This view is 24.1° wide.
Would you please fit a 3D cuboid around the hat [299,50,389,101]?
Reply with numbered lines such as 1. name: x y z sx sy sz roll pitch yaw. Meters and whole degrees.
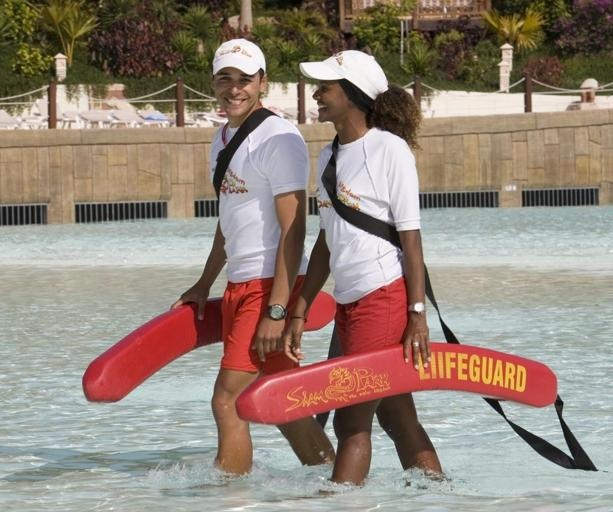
1. hat: 0.252 -1.175 9.499 0.495 0.247 0.319 17 7 -13

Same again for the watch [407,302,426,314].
1. watch: 0.714 0.335 9.327 0.092 0.056 0.084 -4 -3 15

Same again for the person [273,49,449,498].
1. person: 0.378 0.096 9.458 0.975 2.820 0.718 0 12 7
